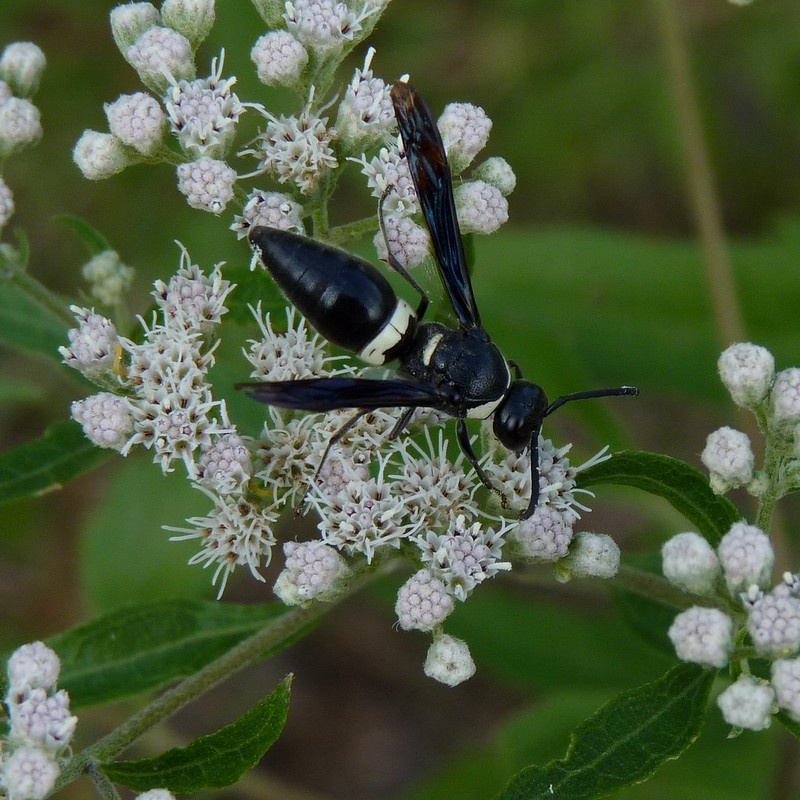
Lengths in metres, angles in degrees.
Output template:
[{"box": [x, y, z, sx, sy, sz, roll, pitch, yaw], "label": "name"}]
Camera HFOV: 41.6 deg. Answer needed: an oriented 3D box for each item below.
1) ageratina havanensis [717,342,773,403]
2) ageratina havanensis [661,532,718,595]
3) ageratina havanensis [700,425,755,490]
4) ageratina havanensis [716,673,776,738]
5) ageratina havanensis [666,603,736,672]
[{"box": [1.165, -0.084, 3.689, 0.158, 0.201, 0.210, -3, 78, -3], "label": "ageratina havanensis"}, {"box": [0.958, 0.540, 3.458, 0.206, 0.176, 0.194, 12, 85, 4], "label": "ageratina havanensis"}, {"box": [1.120, 0.199, 3.596, 0.158, 0.081, 0.213, -3, 87, 23], "label": "ageratina havanensis"}, {"box": [1.065, 0.931, 3.232, 0.142, 0.098, 0.150, 22, 85, 5], "label": "ageratina havanensis"}, {"box": [0.953, 0.749, 3.310, 0.207, 0.161, 0.183, 7, 84, 3], "label": "ageratina havanensis"}]
